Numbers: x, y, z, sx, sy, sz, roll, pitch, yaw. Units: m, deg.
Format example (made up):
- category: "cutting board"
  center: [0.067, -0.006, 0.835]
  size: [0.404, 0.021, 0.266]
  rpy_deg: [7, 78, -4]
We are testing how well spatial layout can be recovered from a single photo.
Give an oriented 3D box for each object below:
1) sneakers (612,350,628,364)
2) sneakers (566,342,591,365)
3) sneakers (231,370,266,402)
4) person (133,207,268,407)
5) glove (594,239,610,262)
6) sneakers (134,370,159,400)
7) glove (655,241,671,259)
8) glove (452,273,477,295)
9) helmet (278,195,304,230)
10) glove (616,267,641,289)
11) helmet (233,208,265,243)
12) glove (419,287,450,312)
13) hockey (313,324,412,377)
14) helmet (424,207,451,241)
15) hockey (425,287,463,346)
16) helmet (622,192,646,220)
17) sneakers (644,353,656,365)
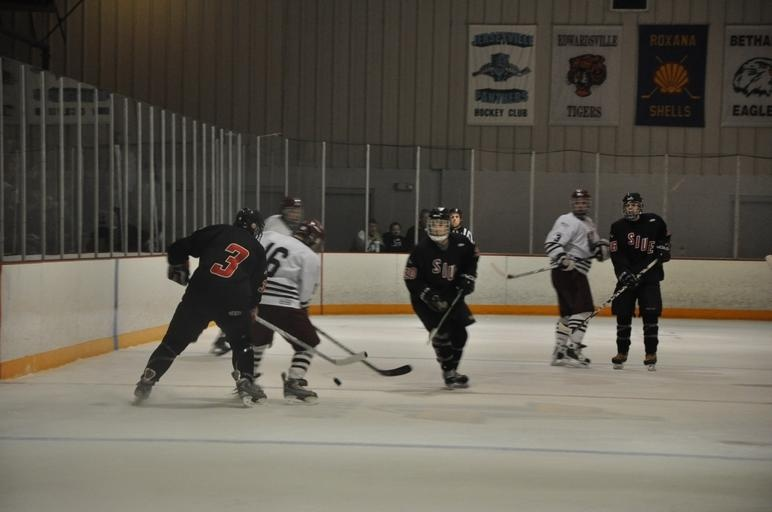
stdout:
- category: "sneakers"
  center: [2.700, 1.186, 9.325]
  size: [0.162, 0.193, 0.369]
  rpy_deg: [3, 7, 14]
- category: "sneakers"
  center: [2.251, 1.148, 9.412]
  size: [0.204, 0.242, 0.234]
  rpy_deg: [-2, 8, -32]
- category: "sneakers"
  center: [-1.226, 1.150, 7.197]
  size: [0.122, 0.239, 0.369]
  rpy_deg: [-10, -17, 29]
- category: "person"
  center: [-1.595, 0.508, 7.148]
  size: [0.987, 1.540, 0.384]
  rpy_deg: [2, 7, 1]
- category: "glove"
  center: [2.603, -0.080, 9.681]
  size: [0.090, 0.231, 0.240]
  rpy_deg: [6, -4, -20]
- category: "sneakers"
  center: [-2.119, 1.131, 7.053]
  size: [0.131, 0.167, 0.376]
  rpy_deg: [5, -19, -14]
- category: "glove"
  center: [3.206, -0.065, 9.244]
  size: [0.180, 0.170, 0.183]
  rpy_deg: [2, 0, 1]
- category: "glove"
  center: [0.827, 0.285, 8.113]
  size: [0.222, 0.206, 0.180]
  rpy_deg: [8, 0, 38]
- category: "helmet"
  center: [-0.964, -0.431, 7.967]
  size: [0.308, 0.312, 0.236]
  rpy_deg: [9, 10, 31]
- category: "glove"
  center: [2.737, 0.257, 9.155]
  size: [0.214, 0.078, 0.213]
  rpy_deg: [-32, 18, -36]
- category: "helmet"
  center: [-1.304, -0.305, 7.486]
  size: [0.239, 0.275, 0.304]
  rpy_deg: [11, 8, 29]
- category: "glove"
  center: [0.454, 0.436, 7.949]
  size: [0.187, 0.289, 0.104]
  rpy_deg: [-41, -12, -35]
- category: "hockey"
  center: [-0.292, 1.152, 9.703]
  size: [0.104, 0.311, 1.324]
  rpy_deg: [-5, 26, -41]
- category: "helmet"
  center: [0.531, -0.340, 8.126]
  size: [0.260, 0.310, 0.345]
  rpy_deg: [1, 9, 11]
- category: "hockey"
  center: [0.572, 0.583, 8.026]
  size: [0.114, 0.695, 0.049]
  rpy_deg: [40, 7, 23]
- category: "helmet"
  center: [2.940, -0.574, 9.350]
  size: [0.257, 0.335, 0.346]
  rpy_deg: [-3, -6, 21]
- category: "sneakers"
  center: [3.002, 1.191, 9.162]
  size: [0.104, 0.166, 0.169]
  rpy_deg: [1, -27, 8]
